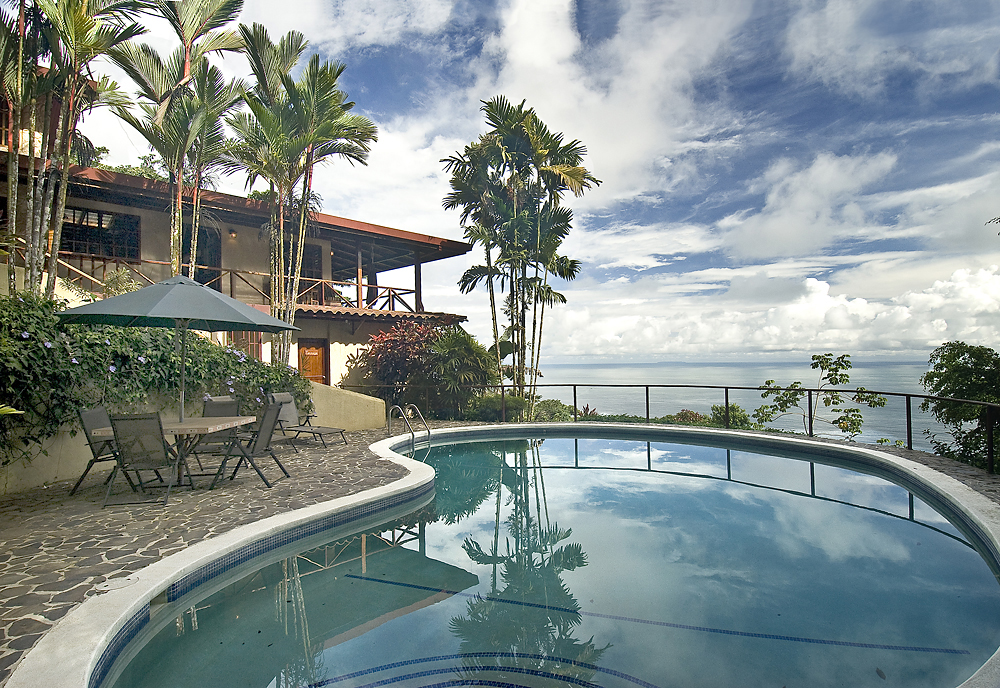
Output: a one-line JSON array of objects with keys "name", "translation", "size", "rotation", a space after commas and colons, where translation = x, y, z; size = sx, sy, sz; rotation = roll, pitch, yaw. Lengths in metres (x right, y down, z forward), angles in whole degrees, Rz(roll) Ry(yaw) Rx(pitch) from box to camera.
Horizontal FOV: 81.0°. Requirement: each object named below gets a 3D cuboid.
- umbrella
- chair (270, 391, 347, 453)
[{"name": "umbrella", "translation": [-4.898, 0.079, 8.875], "size": [2.417, 2.226, 2.260], "rotation": [10, 13, 38]}, {"name": "chair", "translation": [-4.054, 1.573, 11.931], "size": [1.549, 0.911, 0.738], "rotation": [3, -9, 0]}]
